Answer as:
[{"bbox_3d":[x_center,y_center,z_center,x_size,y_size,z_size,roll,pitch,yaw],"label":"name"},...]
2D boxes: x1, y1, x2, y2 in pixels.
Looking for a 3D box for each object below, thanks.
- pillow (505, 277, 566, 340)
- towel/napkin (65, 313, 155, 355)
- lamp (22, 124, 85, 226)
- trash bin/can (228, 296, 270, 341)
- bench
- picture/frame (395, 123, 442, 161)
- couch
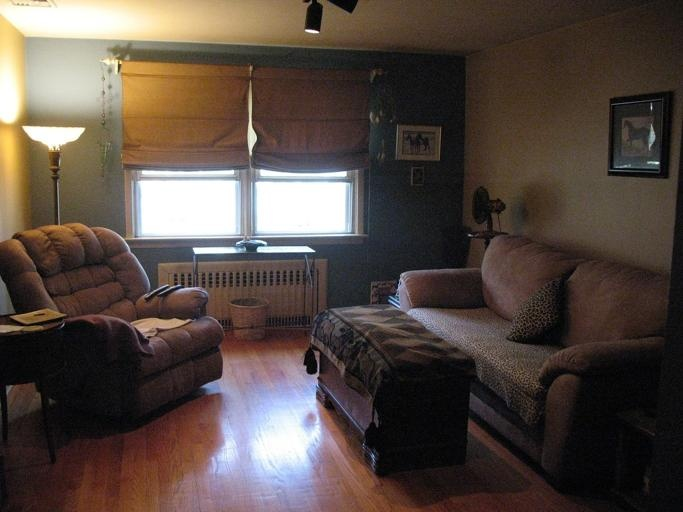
[{"bbox_3d":[1.392,0.383,3.967,0.124,0.434,0.435,28,-16,-4],"label":"pillow"},{"bbox_3d":[-1.508,0.547,3.645,0.287,0.137,0.378,13,-2,42],"label":"towel/napkin"},{"bbox_3d":[-2.493,-0.713,5.028,0.515,0.889,0.642,-7,11,-28],"label":"lamp"},{"bbox_3d":[-0.899,0.597,5.504,0.389,0.300,0.365,2,2,39],"label":"trash bin/can"},{"bbox_3d":[0.313,0.774,3.663,0.805,0.688,1.208,-3,10,-18],"label":"bench"},{"bbox_3d":[0.791,-1.216,5.972,0.392,0.297,0.027,-1,5,-15],"label":"picture/frame"},{"bbox_3d":[1.245,0.689,3.556,0.711,0.751,1.363,-2,14,-13],"label":"couch"}]
